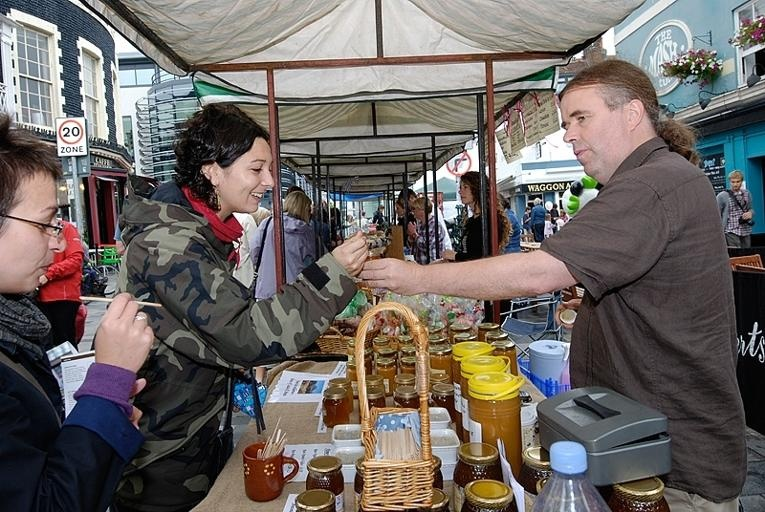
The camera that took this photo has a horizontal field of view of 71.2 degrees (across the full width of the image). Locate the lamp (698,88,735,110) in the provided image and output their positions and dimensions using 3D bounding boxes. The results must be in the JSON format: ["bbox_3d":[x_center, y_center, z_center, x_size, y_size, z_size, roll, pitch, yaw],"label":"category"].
[{"bbox_3d":[8.115,-3.965,13.411,0.352,0.324,0.530,-16,-16,-43],"label":"lamp"}]

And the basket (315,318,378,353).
[{"bbox_3d":[-0.309,0.592,3.995,0.324,0.144,0.428,-2,-2,0],"label":"basket"}]

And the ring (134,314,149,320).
[{"bbox_3d":[-0.919,0.234,2.052,0.040,0.017,0.052,-1,0,-1],"label":"ring"}]

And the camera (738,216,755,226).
[{"bbox_3d":[6.589,-0.640,9.709,0.179,0.066,0.183,7,-16,29],"label":"camera"}]

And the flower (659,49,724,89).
[{"bbox_3d":[7.796,-4.640,13.334,0.995,1.016,0.584,19,-24,43],"label":"flower"}]
